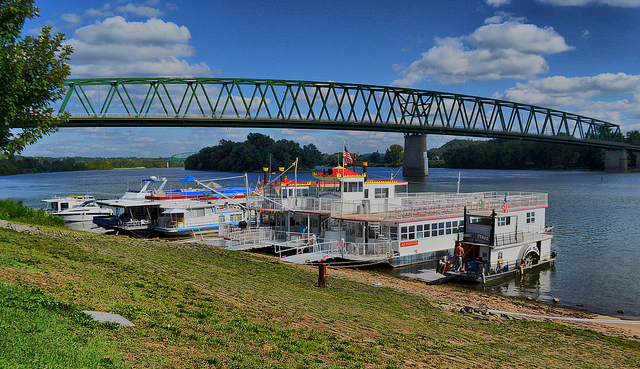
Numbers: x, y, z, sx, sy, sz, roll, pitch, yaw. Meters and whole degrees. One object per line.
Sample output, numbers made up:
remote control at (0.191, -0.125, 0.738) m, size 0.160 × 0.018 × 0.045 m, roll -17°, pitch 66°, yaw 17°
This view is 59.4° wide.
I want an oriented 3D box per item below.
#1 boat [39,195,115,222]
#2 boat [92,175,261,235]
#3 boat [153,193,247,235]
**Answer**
boat at (-28.479, 3.714, 66.808) m, size 6.798 × 2.555 × 4.524 m, roll -3°, pitch 5°, yaw -29°
boat at (-18.646, 2.695, 72.244) m, size 7.987 × 8.315 × 28.590 m, roll 0°, pitch 0°, yaw 35°
boat at (-13.122, 3.762, 65.009) m, size 10.357 × 3.384 × 4.496 m, roll -7°, pitch 11°, yaw -43°
